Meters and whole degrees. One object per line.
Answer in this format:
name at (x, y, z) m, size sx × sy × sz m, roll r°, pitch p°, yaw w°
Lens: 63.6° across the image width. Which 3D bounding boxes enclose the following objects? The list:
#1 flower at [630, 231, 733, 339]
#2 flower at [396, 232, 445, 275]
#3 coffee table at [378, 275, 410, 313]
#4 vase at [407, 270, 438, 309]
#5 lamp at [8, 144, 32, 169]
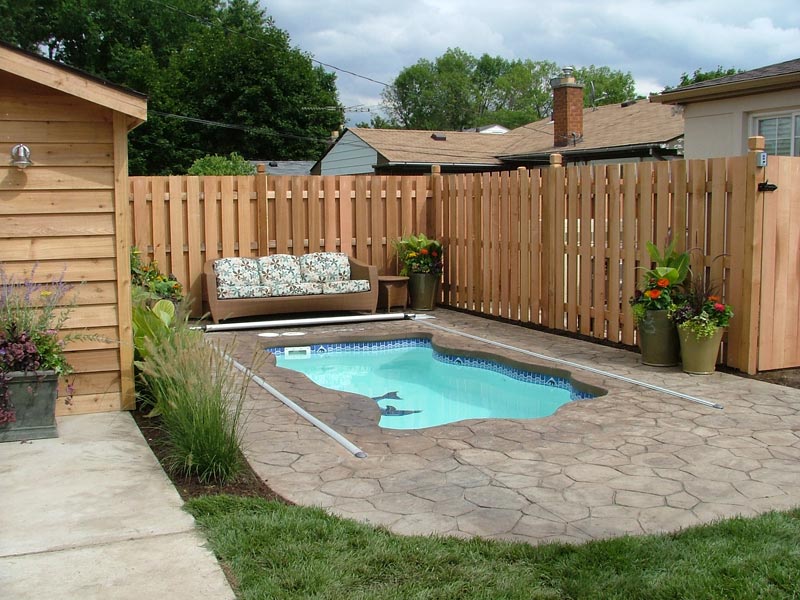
flower at (3.333, -0.218, 7.673) m, size 1.275 × 0.781 × 1.148 m, roll 13°, pitch 18°, yaw 31°
flower at (0.365, -0.832, 12.414) m, size 1.161 × 0.786 × 0.786 m, roll 0°, pitch 5°, yaw 0°
coffee table at (-0.273, -0.102, 12.168) m, size 0.763 × 0.591 × 0.686 m, roll -4°, pitch 8°, yaw -32°
vase at (0.415, -0.167, 12.248) m, size 0.583 × 0.722 × 0.311 m, roll 0°, pitch 10°, yaw 7°
lamp at (-3.474, -1.327, 5.926) m, size 0.171 × 0.237 × 0.211 m, roll -5°, pitch 10°, yaw -25°
